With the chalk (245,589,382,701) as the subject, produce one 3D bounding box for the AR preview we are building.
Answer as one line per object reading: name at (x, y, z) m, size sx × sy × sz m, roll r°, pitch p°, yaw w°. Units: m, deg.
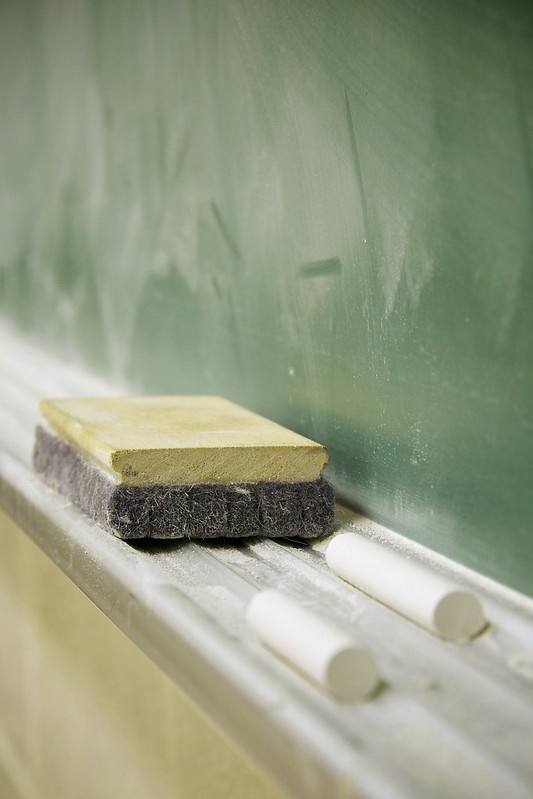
chalk at (0.017, 0.098, 0.323) m, size 0.020 × 0.019 × 0.073 m, roll -18°, pitch 15°, yaw -26°
